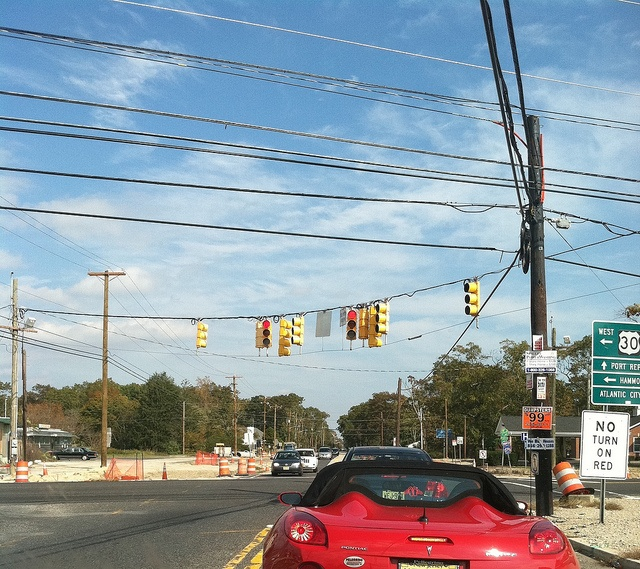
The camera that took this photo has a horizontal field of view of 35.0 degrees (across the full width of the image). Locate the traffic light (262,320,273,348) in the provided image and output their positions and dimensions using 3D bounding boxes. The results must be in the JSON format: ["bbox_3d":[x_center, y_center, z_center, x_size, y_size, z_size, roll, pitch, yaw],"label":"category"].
[{"bbox_3d":[-1.812,1.724,34.236,0.281,0.910,0.332,-4,-12,15],"label":"traffic light"}]

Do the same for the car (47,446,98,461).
[{"bbox_3d":[-20.948,14.429,86.132,2.938,1.319,7.157,-2,-12,4],"label":"car"}]

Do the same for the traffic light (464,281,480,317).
[{"bbox_3d":[4.253,0.360,28.475,0.356,1.143,0.910,-3,-12,12],"label":"traffic light"}]

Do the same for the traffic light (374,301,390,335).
[{"bbox_3d":[1.925,1.075,31.980,0.408,1.097,0.439,1,-12,-5],"label":"traffic light"}]

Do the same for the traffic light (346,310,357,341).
[{"bbox_3d":[1.058,1.352,33.297,0.331,1.073,0.650,-1,-12,2],"label":"traffic light"}]

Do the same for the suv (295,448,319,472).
[{"bbox_3d":[-0.633,8.701,50.085,1.017,0.895,1.843,0,-12,1],"label":"suv"}]

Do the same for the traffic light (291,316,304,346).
[{"bbox_3d":[-0.791,1.566,33.979,0.374,1.079,1.101,0,-12,-3],"label":"traffic light"}]
